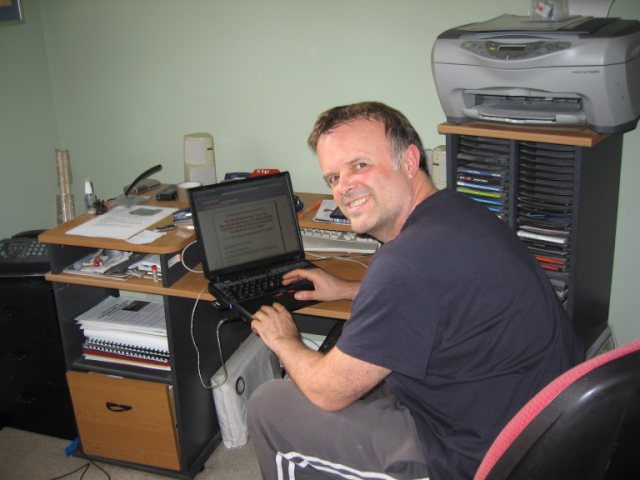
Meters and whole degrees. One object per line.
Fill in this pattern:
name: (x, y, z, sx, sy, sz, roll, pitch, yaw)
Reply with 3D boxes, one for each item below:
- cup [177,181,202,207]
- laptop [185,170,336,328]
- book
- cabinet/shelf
cup: (-0.622, -0.212, 2.282, 0.164, 0.093, 0.133, 3, 22, 3)
laptop: (-0.151, 0.022, 1.884, 0.653, 0.359, 0.545, -3, 30, -31)
book: (-0.788, 0.387, 2.122, 0.356, 0.109, 0.370, 0, 16, -3)
cabinet/shelf: (0.873, -0.176, 2.001, 0.653, 0.754, 0.539, 6, 38, 26)
